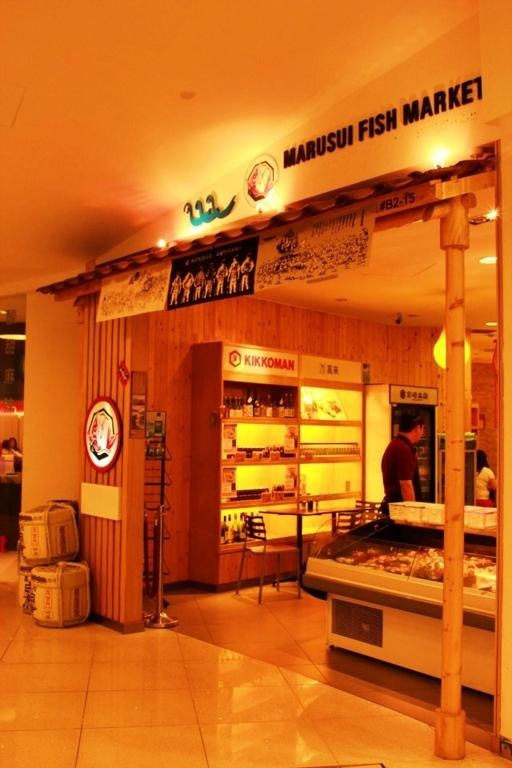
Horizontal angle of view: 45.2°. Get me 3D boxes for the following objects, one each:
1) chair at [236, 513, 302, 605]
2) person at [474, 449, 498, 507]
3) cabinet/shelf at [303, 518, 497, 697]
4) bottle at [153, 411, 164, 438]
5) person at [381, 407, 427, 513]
[{"bbox_3d":[0.123,1.786,6.510,0.560,0.856,0.541,2,0,-40],"label":"chair"},{"bbox_3d":[2.927,1.202,7.908,0.256,0.725,1.269,-3,-8,20],"label":"person"},{"bbox_3d":[1.120,1.391,4.140,1.388,1.009,0.936,-2,-9,41],"label":"cabinet/shelf"},{"bbox_3d":[-0.994,0.412,6.244,0.113,0.262,0.438,1,-8,-9],"label":"bottle"},{"bbox_3d":[1.340,0.679,5.684,0.356,0.837,0.741,-2,-7,14],"label":"person"}]
